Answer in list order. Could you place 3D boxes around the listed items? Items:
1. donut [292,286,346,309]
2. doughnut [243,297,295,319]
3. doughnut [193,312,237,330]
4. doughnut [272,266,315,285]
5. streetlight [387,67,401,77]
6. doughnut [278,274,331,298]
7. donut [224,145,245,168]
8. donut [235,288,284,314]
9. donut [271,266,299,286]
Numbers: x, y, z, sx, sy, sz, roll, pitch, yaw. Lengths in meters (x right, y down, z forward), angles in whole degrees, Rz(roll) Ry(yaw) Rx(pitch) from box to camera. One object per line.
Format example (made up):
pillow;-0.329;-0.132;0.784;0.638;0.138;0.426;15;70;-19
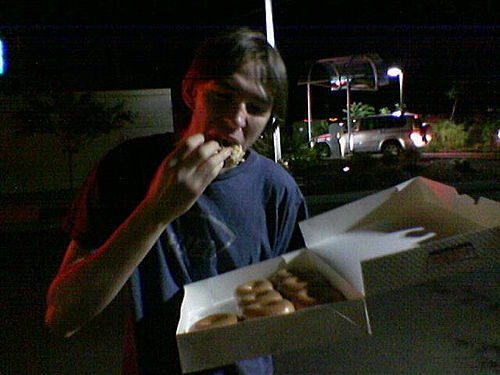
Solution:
donut;0.324;0.519;2.409;0.242;0.081;0.125;0;9;1
doughnut;0.082;0.561;2.391;0.140;0.056;0.117;-6;-2;-2
doughnut;-0.157;0.613;2.364;0.198;0.038;0.161;0;9;3
doughnut;0.216;0.417;2.553;0.152;0.041;0.092;-1;0;-39
streetlight;0.836;-0.672;2.979;0.054;0.061;0.013;4;18;-16
doughnut;0.258;0.461;2.484;0.149;0.063;0.128;-9;-2;-15
donut;-0.078;-0.166;2.705;0.083;0.119;0.039;19;2;-42
donut;0.093;0.531;2.543;0.193;0.091;0.254;-6;-3;30
donut;0.171;0.426;2.547;0.079;0.038;0.104;-17;0;43
